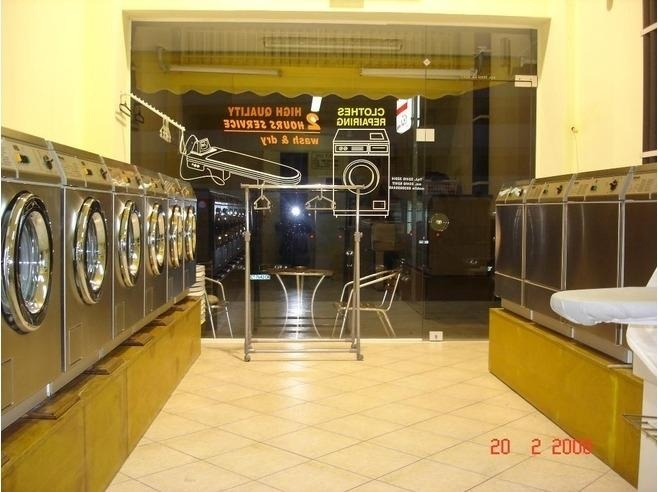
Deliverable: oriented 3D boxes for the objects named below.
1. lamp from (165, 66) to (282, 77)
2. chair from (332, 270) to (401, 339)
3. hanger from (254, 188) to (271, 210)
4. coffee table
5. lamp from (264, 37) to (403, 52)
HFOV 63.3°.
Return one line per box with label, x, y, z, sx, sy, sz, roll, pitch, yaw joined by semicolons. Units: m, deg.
lamp;-1.213;-2.010;6.132;1.283;0.112;0.044;0;5;-1
chair;0.440;0.673;6.764;0.768;1.096;0.721;4;1;-1
hanger;-0.768;-0.538;6.160;0.201;0.294;0.038;1;6;1
coffee table;-0.339;0.682;6.480;0.725;0.868;0.785;-4;-6;36
lamp;0.050;-2.345;6.206;1.613;0.168;0.049;0;5;-2
